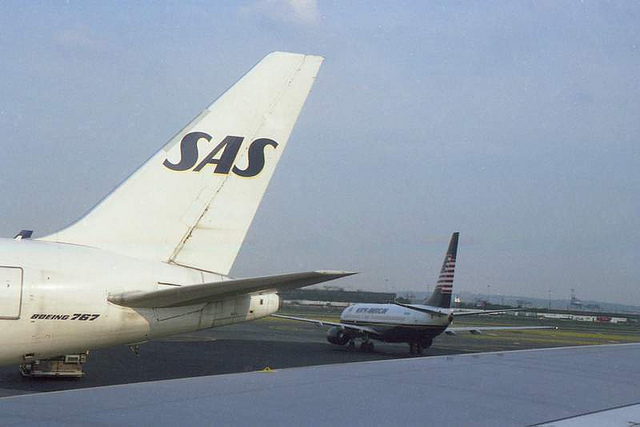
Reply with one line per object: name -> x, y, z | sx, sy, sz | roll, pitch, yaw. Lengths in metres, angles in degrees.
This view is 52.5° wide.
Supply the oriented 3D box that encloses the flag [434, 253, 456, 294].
flag -> 7.165, 3.320, 36.299 | 1.019, 2.294, 1.652 | -2, -9, 14
